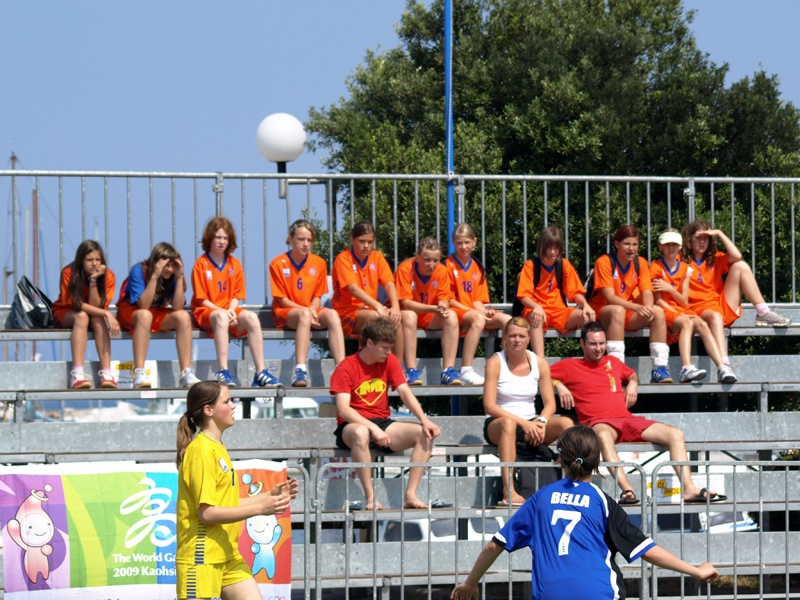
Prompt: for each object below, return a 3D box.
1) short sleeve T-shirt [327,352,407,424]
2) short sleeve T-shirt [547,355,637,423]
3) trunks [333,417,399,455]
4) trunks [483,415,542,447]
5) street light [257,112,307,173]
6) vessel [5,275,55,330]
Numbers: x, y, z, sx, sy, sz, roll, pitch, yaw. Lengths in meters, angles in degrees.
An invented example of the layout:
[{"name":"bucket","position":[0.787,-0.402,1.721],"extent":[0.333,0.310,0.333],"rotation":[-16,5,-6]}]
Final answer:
[{"name":"short sleeve T-shirt","position":[-0.418,0.968,24.384],"extent":[1.133,1.018,0.660],"rotation":[1,-5,-15]},{"name":"short sleeve T-shirt","position":[2.128,0.895,24.800],"extent":[0.826,0.345,0.923],"rotation":[12,19,25]},{"name":"trunks","position":[-0.438,1.493,24.087],"extent":[0.452,0.453,0.168],"rotation":[3,-27,-4]},{"name":"trunks","position":[1.115,1.475,24.183],"extent":[0.378,0.172,0.302],"rotation":[19,28,10]},{"name":"street light","position":[-1.447,-1.829,26.495],"extent":[0.627,0.973,0.641],"rotation":[0,2,19]},{"name":"vessel","position":[-4.257,0.046,25.355],"extent":[0.533,0.630,0.413],"rotation":[-1,-6,-12]}]
